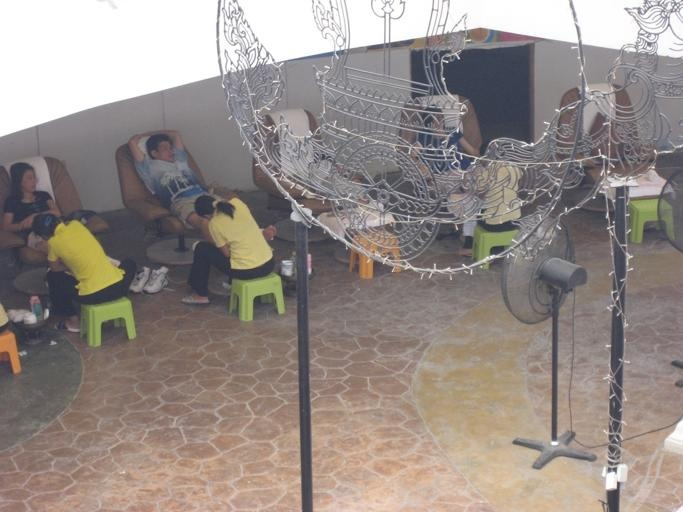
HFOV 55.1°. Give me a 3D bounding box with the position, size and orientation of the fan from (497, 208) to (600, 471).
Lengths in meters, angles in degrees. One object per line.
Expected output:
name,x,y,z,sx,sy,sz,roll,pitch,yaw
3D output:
fan,1.420,0.530,4.324,0.518,1.941,0.961,11,29,33

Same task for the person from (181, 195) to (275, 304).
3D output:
person,-1.151,-0.023,6.760,0.961,1.047,0.787,4,12,10

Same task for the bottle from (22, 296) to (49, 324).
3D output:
bottle,-2.866,0.516,6.160,0.290,0.198,0.298,1,17,0

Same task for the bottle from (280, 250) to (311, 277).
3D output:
bottle,-0.556,0.054,7.012,0.346,0.104,0.326,0,25,0

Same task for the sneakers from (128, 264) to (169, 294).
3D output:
sneakers,-2.090,0.269,7.137,0.235,0.145,0.389,3,10,15

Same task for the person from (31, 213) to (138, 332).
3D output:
person,-2.461,0.171,6.255,0.943,1.049,0.741,6,30,4

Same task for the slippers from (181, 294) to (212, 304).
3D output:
slippers,-1.528,0.457,6.828,0.210,0.076,0.122,5,7,4

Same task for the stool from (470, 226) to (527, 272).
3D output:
stool,1.339,-0.075,5.641,0.424,0.315,0.407,-10,25,-19

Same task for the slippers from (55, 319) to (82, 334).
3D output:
slippers,-2.643,0.695,6.363,0.274,0.099,0.129,12,11,9

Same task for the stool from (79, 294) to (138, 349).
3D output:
stool,-2.187,0.611,6.094,0.509,0.376,0.486,-8,24,-16

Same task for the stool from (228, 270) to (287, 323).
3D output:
stool,-0.882,0.349,6.685,0.530,0.394,0.518,-9,16,-31
